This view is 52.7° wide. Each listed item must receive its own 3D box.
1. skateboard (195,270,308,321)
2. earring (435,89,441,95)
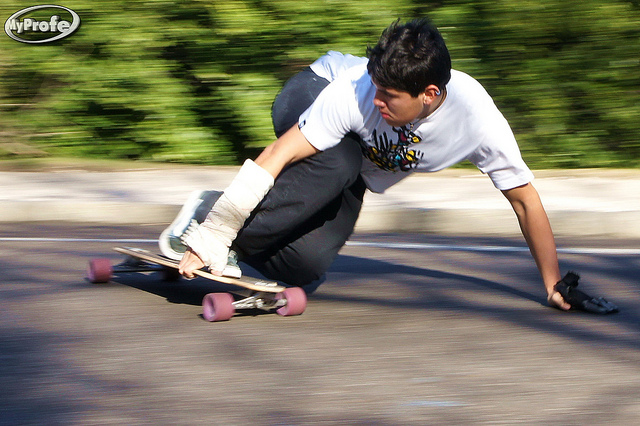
[{"bbox_3d":[-0.520,0.515,4.015,0.573,0.158,0.755,0,-4,-25],"label":"skateboard"},{"bbox_3d":[0.615,-0.632,3.362,0.026,0.018,0.009,25,1,7],"label":"earring"}]
